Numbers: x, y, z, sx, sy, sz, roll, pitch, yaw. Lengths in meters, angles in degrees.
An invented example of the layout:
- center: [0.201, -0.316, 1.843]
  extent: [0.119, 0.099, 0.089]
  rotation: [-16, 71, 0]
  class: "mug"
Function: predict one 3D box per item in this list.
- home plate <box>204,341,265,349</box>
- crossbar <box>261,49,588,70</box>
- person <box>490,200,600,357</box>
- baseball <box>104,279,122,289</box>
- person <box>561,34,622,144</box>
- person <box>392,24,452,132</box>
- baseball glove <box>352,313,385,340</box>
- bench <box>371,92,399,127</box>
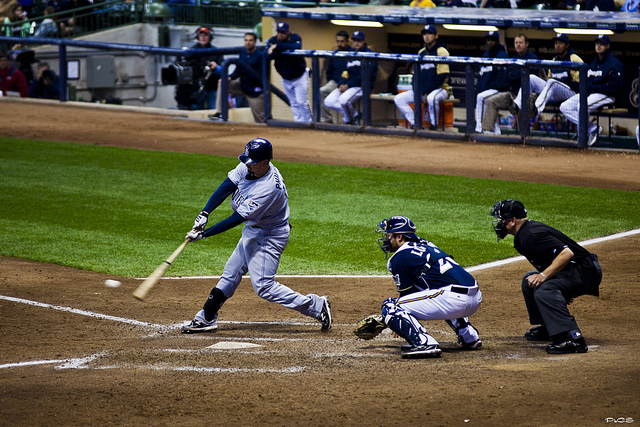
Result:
- center: [-1.116, 1.720, 15.359]
  extent: [0.689, 0.050, 0.242]
  rotation: [1, 5, 5]
  class: "home plate"
- center: [2.125, -3.059, 23.264]
  extent: [6.154, 0.494, 0.333]
  rotation: [2, 6, 24]
  class: "crossbar"
- center: [2.869, 0.813, 15.032]
  extent: [1.275, 1.926, 0.519]
  rotation: [1, 6, 11]
  class: "person"
- center: [-2.769, 0.975, 15.900]
  extent: [0.217, 0.074, 0.218]
  rotation: [12, 1, -12]
  class: "baseball"
- center: [5.080, -2.374, 22.486]
  extent: [1.226, 2.004, 0.964]
  rotation: [-5, 11, -32]
  class: "person"
- center: [2.047, -2.714, 23.728]
  extent: [1.094, 2.121, 0.747]
  rotation: [2, 6, 20]
  class: "person"
- center: [0.627, 1.459, 15.336]
  extent: [0.520, 0.221, 0.231]
  rotation: [-24, 16, 9]
  class: "baseball glove"
- center: [1.324, -2.076, 24.040]
  extent: [0.771, 0.655, 0.559]
  rotation: [4, 28, 9]
  class: "bench"
